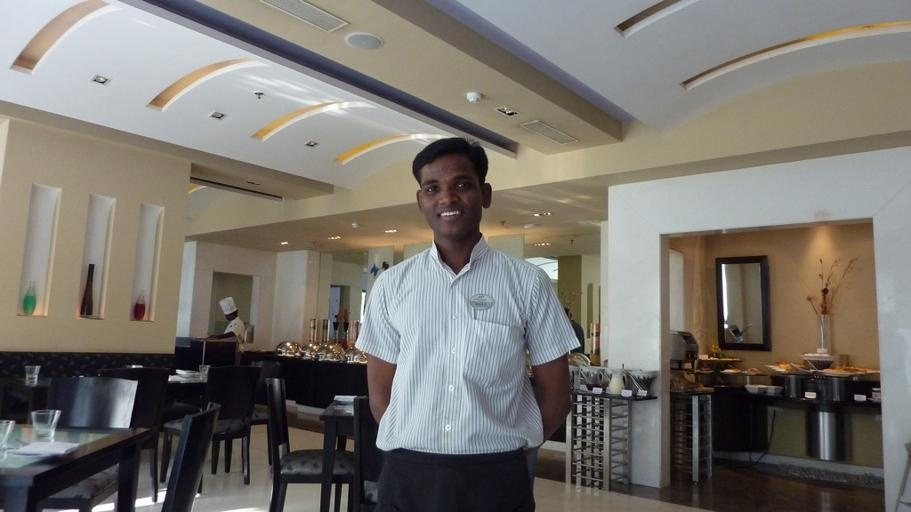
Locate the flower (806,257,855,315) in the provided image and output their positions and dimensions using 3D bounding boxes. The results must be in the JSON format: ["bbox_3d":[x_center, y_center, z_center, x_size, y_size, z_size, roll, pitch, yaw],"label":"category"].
[{"bbox_3d":[6.379,0.496,9.266,0.693,0.961,0.153,2,-1,22],"label":"flower"}]

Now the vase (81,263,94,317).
[{"bbox_3d":[-5.625,0.508,8.342,0.163,0.881,0.122,3,-1,-35],"label":"vase"}]

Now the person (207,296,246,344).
[{"bbox_3d":[-4.734,1.445,11.398,0.766,1.198,0.888,3,2,-12],"label":"person"}]

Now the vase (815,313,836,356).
[{"bbox_3d":[6.180,1.291,9.159,0.239,0.653,0.295,2,-1,35],"label":"vase"}]

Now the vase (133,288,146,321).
[{"bbox_3d":[-5.068,0.786,8.758,0.185,0.465,0.104,3,-1,-29],"label":"vase"}]

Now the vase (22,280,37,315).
[{"bbox_3d":[-6.161,0.605,7.910,0.175,0.541,0.128,3,-2,-38],"label":"vase"}]
